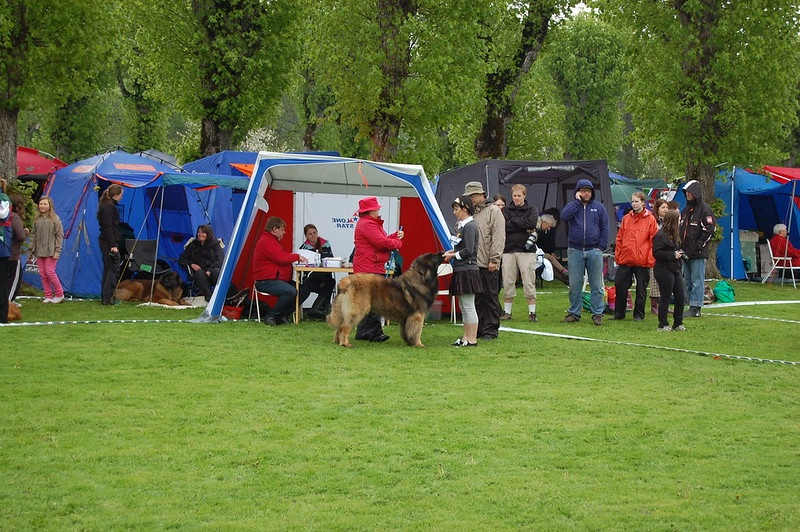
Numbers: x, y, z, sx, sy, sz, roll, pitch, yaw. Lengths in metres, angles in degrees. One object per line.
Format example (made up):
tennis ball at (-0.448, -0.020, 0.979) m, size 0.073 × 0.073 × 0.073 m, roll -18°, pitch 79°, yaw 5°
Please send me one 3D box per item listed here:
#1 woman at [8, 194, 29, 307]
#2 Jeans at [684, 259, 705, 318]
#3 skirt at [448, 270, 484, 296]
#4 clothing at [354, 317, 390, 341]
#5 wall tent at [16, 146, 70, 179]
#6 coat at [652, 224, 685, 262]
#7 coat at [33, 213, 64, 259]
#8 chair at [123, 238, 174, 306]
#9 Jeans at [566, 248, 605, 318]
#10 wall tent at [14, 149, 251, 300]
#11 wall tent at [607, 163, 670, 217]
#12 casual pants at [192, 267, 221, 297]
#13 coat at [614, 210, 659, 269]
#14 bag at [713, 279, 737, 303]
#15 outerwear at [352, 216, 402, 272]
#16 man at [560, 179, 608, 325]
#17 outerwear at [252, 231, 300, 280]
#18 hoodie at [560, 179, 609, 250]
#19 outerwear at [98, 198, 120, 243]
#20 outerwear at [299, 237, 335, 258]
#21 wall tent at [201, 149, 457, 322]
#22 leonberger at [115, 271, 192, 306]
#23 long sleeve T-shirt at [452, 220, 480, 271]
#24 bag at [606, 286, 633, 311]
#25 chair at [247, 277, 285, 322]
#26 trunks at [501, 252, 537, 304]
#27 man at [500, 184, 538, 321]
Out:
woman at (-7.109, -0.338, 16.211) m, size 0.303 × 2.036 × 1.050 m, roll 3°, pitch -4°, yaw -24°
Jeans at (5.938, 0.339, 17.565) m, size 0.342 × 1.309 × 0.434 m, roll 9°, pitch -6°, yaw -25°
skirt at (1.120, 0.260, 14.598) m, size 0.468 × 0.360 × 0.404 m, roll -4°, pitch -3°, yaw 42°
clothing at (-0.482, 1.117, 15.431) m, size 0.623 × 0.598 × 0.334 m, roll -1°, pitch 3°, yaw -3°
wall tent at (-10.053, -2.860, 24.168) m, size 1.673 × 0.734 × 1.695 m, roll 2°, pitch 3°, yaw 28°
coat at (4.980, -0.413, 16.052) m, size 0.524 × 0.750 × 0.798 m, roll -2°, pitch 3°, yaw 38°
coat at (-7.374, -0.647, 18.201) m, size 0.595 × 0.934 × 0.291 m, roll 3°, pitch -4°, yaw -23°
chair at (-5.439, 0.129, 19.003) m, size 1.449 × 1.427 × 1.263 m, roll 4°, pitch 5°, yaw 42°
Jeans at (3.592, 0.304, 16.830) m, size 0.731 × 1.490 × 0.486 m, roll -1°, pitch 4°, yaw 10°
wall tent at (-6.451, -1.306, 20.059) m, size 3.990 × 1.811 × 4.071 m, roll 3°, pitch 5°, yaw 34°
wall tent at (7.125, -2.299, 25.777) m, size 1.856 × 0.984 × 1.826 m, roll 2°, pitch 2°, yaw -2°
casual pants at (-4.095, 0.302, 18.315) m, size 0.458 × 0.818 × 0.260 m, roll 6°, pitch -19°, yaw -25°
coat at (4.697, -0.584, 17.114) m, size 0.866 × 1.171 × 0.540 m, roll 9°, pitch 11°, yaw 40°
bag at (7.531, 0.568, 20.137) m, size 0.555 × 0.547 × 0.438 m, roll -2°, pitch 5°, yaw -6°
outerwear at (-0.371, -0.386, 15.533) m, size 0.816 × 1.007 × 0.905 m, roll 5°, pitch 7°, yaw 37°
man at (3.571, -0.310, 16.756) m, size 0.979 × 2.777 × 0.767 m, roll 0°, pitch -5°, yaw 4°
outerwear at (-2.329, -0.203, 16.713) m, size 0.933 × 0.911 × 0.896 m, roll -1°, pitch -1°, yaw 35°
hoodie at (3.553, -0.926, 16.761) m, size 0.991 × 1.418 × 0.653 m, roll 4°, pitch -4°, yaw -11°
outerwear at (-6.161, -0.862, 18.466) m, size 0.491 × 0.982 × 0.698 m, roll 0°, pitch -8°, yaw -21°
outerwear at (-1.659, -0.362, 17.399) m, size 0.739 × 0.558 × 0.398 m, roll 2°, pitch -6°, yaw 0°
wall tent at (-1.499, -0.825, 17.997) m, size 4.055 × 2.488 × 3.754 m, roll 1°, pitch -1°, yaw -14°
leonberger at (-5.418, 0.488, 19.001) m, size 1.329 × 0.575 × 0.789 m, roll 2°, pitch 0°, yaw 32°
long sleeve T-shirt at (1.090, -0.349, 14.732) m, size 0.481 × 0.881 × 0.693 m, roll 0°, pitch 6°, yaw -8°
bag at (4.688, 0.703, 18.741) m, size 0.336 × 0.432 × 1.053 m, roll 0°, pitch -5°, yaw -1°
chair at (-2.406, 0.612, 16.398) m, size 0.836 × 0.898 × 0.626 m, roll 0°, pitch 6°, yaw -5°
trunks at (2.341, 0.121, 17.180) m, size 0.669 × 1.144 × 0.367 m, roll -3°, pitch 25°, yaw 6°
man at (2.374, -0.275, 17.160) m, size 0.847 × 2.654 × 0.761 m, roll -4°, pitch -10°, yaw 36°
